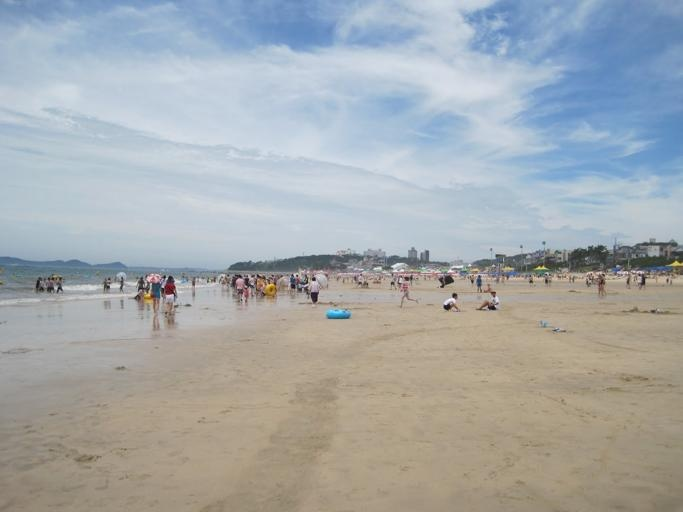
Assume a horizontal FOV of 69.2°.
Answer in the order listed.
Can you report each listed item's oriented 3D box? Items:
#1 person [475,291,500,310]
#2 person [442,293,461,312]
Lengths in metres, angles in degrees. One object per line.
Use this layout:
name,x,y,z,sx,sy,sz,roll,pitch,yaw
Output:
person,7.329,2.087,24.388,0.708,0.882,1.733,2,7,21
person,5.253,2.131,23.506,0.645,0.802,1.221,2,7,17
